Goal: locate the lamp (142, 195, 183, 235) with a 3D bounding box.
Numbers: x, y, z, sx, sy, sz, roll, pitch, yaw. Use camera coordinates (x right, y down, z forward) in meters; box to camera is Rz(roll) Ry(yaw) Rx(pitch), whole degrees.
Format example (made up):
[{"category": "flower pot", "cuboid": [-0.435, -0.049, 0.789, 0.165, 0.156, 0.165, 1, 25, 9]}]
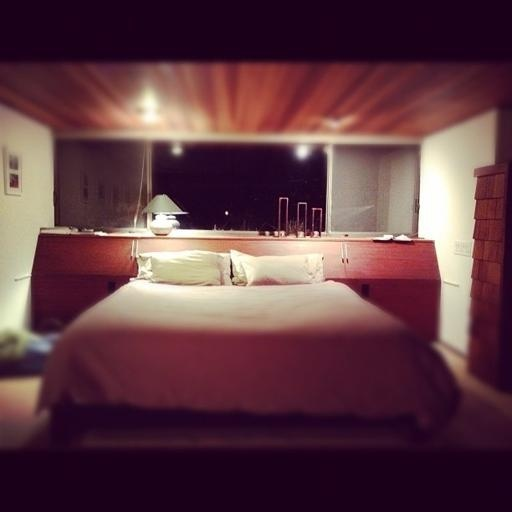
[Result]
[{"category": "lamp", "cuboid": [-0.843, -0.369, 3.886, 0.333, 0.369, 0.366, 0, 2, -5]}]
